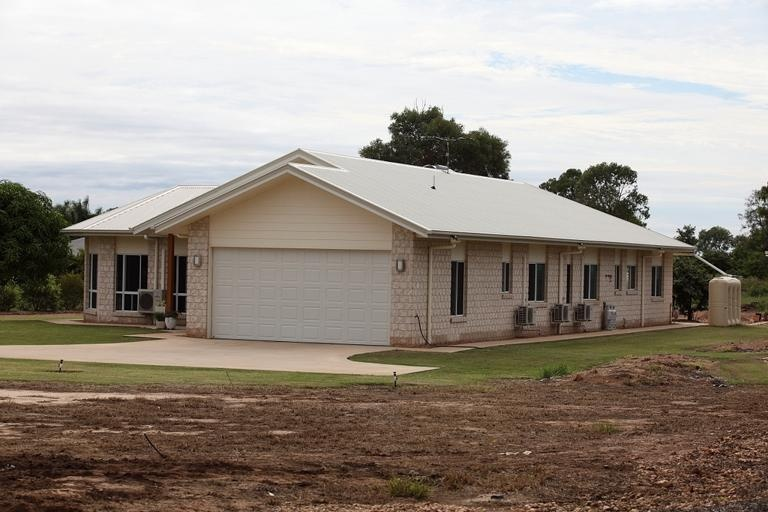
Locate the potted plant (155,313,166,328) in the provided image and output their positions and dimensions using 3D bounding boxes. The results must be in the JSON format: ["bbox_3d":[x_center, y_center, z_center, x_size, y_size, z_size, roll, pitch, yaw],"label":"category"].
[{"bbox_3d":[-7.531,2.181,34.580,0.499,0.458,0.510,0,-1,-23],"label":"potted plant"}]

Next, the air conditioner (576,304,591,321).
[{"bbox_3d":[6.793,1.936,35.871,0.587,0.711,0.798,-1,-1,20],"label":"air conditioner"}]

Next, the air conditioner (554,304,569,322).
[{"bbox_3d":[5.906,1.931,34.347,0.595,0.623,0.702,0,-2,3],"label":"air conditioner"}]

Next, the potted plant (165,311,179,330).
[{"bbox_3d":[-7.187,2.152,34.619,0.376,0.594,0.646,1,5,-3],"label":"potted plant"}]
